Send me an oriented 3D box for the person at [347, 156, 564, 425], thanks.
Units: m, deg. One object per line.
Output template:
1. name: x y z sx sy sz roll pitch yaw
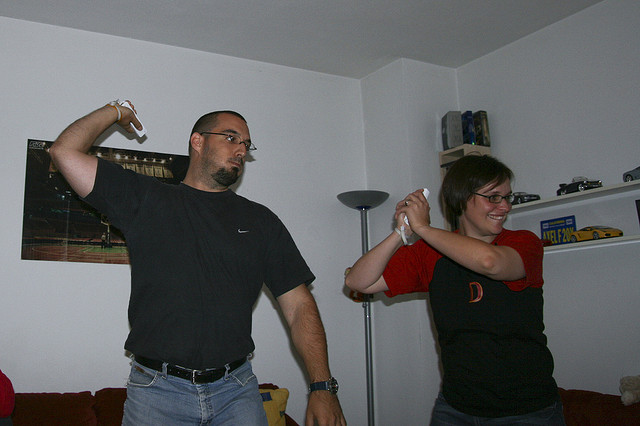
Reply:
1. person: 0.775 0.411 2.791 0.957 1.449 0.330 -1 -2 26

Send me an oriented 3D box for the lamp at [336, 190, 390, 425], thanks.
1. lamp: 0.418 0.859 4.756 0.425 2.140 0.532 -2 -2 44
